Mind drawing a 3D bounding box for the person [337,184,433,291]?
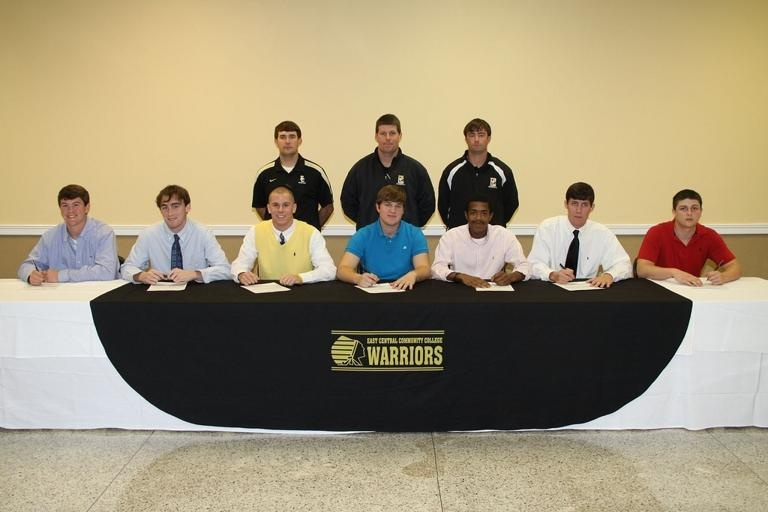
[{"bbox_3d":[-0.005,-0.173,4.444,0.611,0.754,0.798,0,13,-2],"label":"person"}]

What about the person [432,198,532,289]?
[{"bbox_3d":[0.708,-0.138,4.373,0.622,0.761,0.666,0,10,2],"label":"person"}]

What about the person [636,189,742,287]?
[{"bbox_3d":[2.323,-0.083,4.456,0.777,0.789,0.717,0,7,6],"label":"person"}]

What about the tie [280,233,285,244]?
[{"bbox_3d":[-0.777,-0.137,4.387,0.047,0.071,0.016,-7,3,-11],"label":"tie"}]
